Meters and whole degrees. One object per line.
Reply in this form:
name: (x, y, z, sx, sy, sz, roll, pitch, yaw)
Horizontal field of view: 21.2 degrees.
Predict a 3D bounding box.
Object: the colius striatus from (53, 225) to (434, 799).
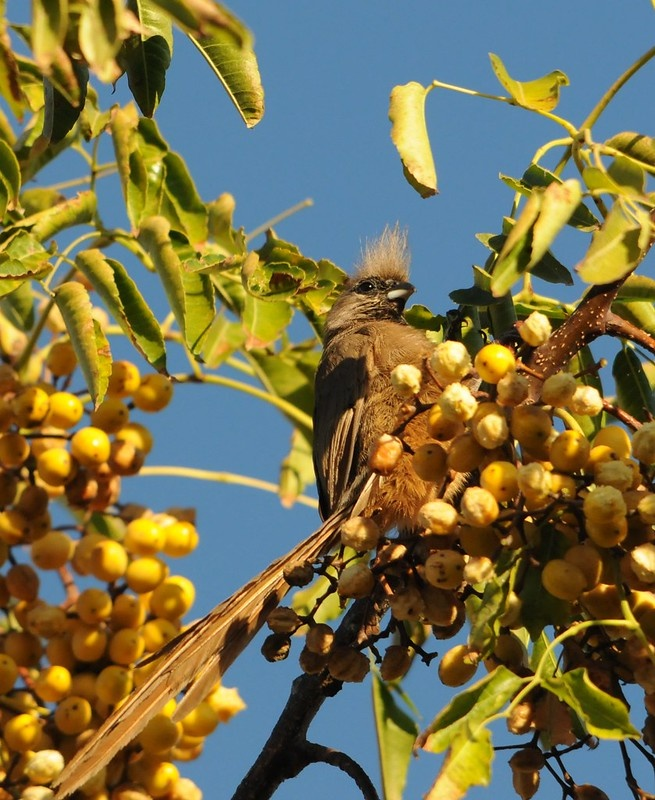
colius striatus: (-0.222, 0.262, 3.938, 0.706, 1.432, 0.295, 37, -14, -35)
